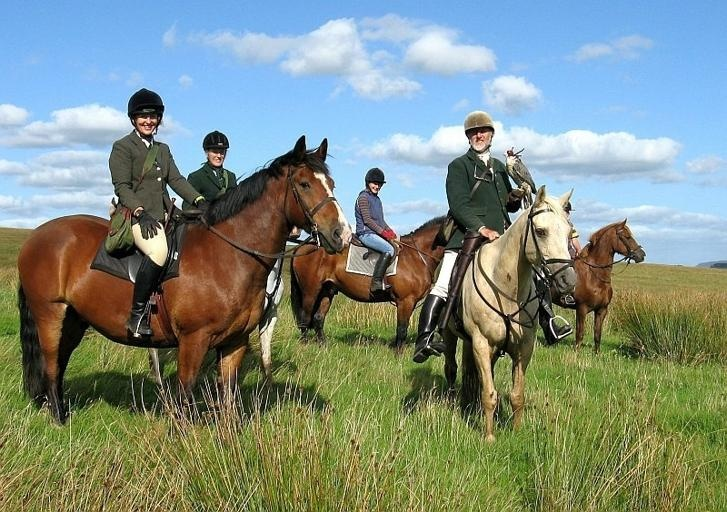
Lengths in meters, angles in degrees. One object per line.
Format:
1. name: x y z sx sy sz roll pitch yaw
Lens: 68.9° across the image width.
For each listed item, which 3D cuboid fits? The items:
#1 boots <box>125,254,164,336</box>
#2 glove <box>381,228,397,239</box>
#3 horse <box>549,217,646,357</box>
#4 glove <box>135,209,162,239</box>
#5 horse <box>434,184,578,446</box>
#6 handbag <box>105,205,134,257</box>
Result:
1. boots: -2.416 0.427 5.912 0.351 0.880 0.171 1 3 -19
2. glove: 0.555 -0.496 11.490 0.238 0.210 0.388 1 4 -31
3. horse: 5.625 0.891 14.019 0.975 3.493 4.222 9 -5 -11
4. glove: -2.417 -0.356 5.989 0.191 0.384 0.104 -30 -28 -6
5. horse: 1.777 0.700 6.752 0.921 3.129 2.216 2 3 -10
6. handbag: -2.776 -0.264 6.166 0.227 0.570 0.384 22 -32 -35
